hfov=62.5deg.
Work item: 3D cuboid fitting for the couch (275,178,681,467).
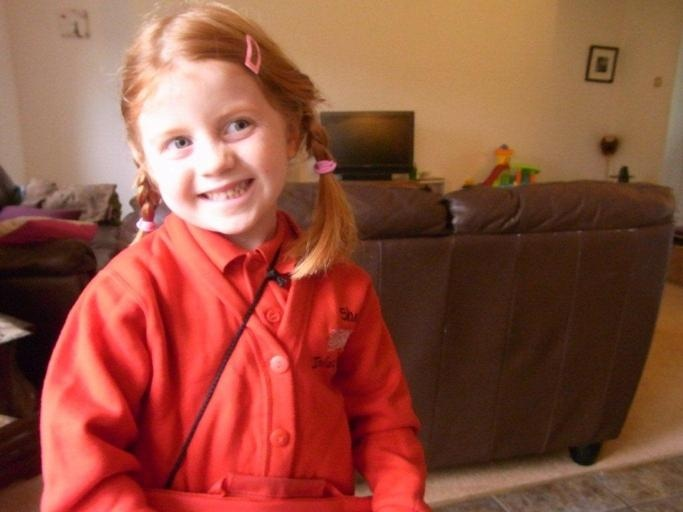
[{"bbox_3d":[0.489,0.414,2.434,1.697,1.130,0.952,-3,22,-2],"label":"couch"}]

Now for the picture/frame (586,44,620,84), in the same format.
[{"bbox_3d":[2.834,-2.098,6.115,0.397,0.430,0.036,7,16,-12],"label":"picture/frame"}]
